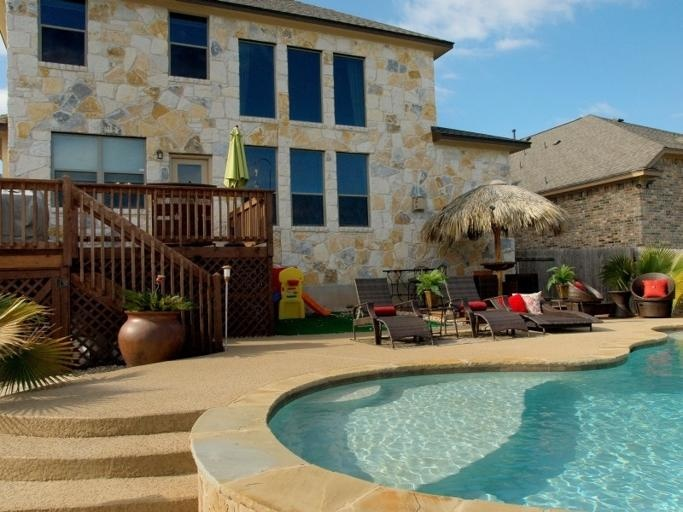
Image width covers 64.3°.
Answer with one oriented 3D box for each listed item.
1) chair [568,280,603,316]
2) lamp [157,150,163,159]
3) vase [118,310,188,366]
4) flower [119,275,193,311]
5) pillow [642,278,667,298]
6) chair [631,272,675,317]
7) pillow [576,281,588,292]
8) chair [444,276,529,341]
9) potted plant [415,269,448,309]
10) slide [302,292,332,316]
[{"bbox_3d":[6.539,1.121,14.717,1.127,0.938,1.034,-3,-2,29],"label":"chair"},{"bbox_3d":[-4.999,-2.798,14.913,0.179,0.236,0.074,-2,13,-20],"label":"lamp"},{"bbox_3d":[-3.182,1.383,9.456,1.194,0.947,1.015,0,-6,-13],"label":"vase"},{"bbox_3d":[-3.217,0.596,9.364,0.972,0.442,0.839,6,18,-30],"label":"flower"},{"bbox_3d":[8.598,0.850,14.847,0.573,0.520,0.546,6,12,21],"label":"pillow"},{"bbox_3d":[8.726,1.122,15.298,1.403,1.303,1.370,-4,-10,35],"label":"chair"},{"bbox_3d":[6.491,0.805,14.724,0.247,0.080,0.368,2,22,4],"label":"pillow"},{"bbox_3d":[3.195,1.280,12.324,1.474,1.296,2.559,2,10,-1],"label":"chair"},{"bbox_3d":[2.377,0.840,14.602,1.254,1.011,1.098,1,-5,1],"label":"potted plant"},{"bbox_3d":[-0.705,1.375,15.971,0.835,0.772,1.000,2,11,0],"label":"slide"}]
